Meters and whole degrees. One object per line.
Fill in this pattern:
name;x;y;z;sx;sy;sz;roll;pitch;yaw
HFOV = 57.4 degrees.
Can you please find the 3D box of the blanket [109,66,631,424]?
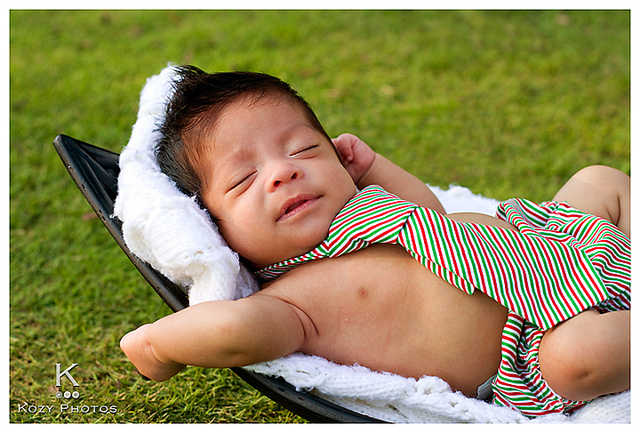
blanket;0.017;0.126;2.967;2.266;1.444;1.754;-6;25;-15
